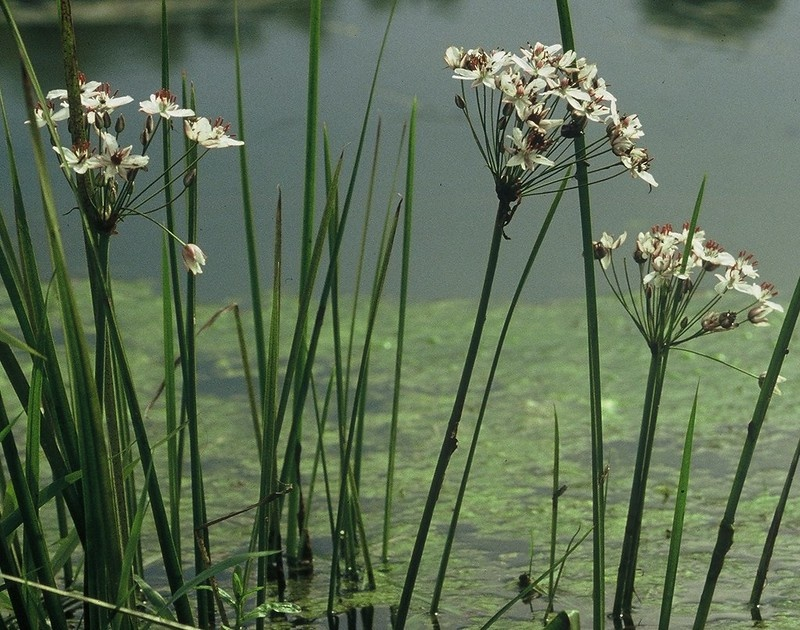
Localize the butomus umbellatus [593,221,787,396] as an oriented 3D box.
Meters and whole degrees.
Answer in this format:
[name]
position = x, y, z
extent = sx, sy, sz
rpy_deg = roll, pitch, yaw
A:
[butomus umbellatus]
position = 0.753, -0.061, 3.851
extent = 0.419, 0.365, 0.353
rpy_deg = 0, 16, -18
